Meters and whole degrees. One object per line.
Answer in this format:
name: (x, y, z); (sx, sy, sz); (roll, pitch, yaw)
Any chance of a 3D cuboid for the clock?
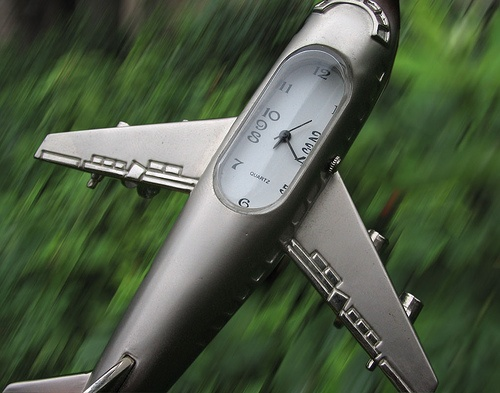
clock: (0.180, -0.407, 5.596); (0.494, 1.256, 0.157); (29, -8, 9)
